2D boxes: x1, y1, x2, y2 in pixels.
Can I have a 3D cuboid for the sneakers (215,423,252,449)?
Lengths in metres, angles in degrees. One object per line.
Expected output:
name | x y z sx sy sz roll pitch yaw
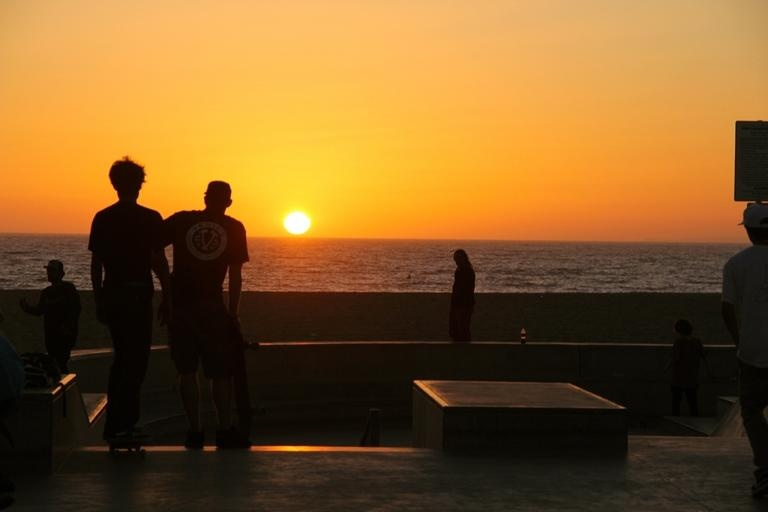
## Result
sneakers | -1.563 1.905 10.580 0.373 0.217 0.187 0 3 -20

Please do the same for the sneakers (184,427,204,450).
sneakers | -1.956 1.892 10.401 0.187 0.178 0.189 0 3 -14

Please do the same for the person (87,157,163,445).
person | -2.606 0.461 10.386 0.780 2.932 0.635 -2 4 -17

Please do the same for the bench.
bench | 1.454 1.785 10.773 2.246 0.657 1.283 -1 4 4

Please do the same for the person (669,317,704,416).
person | 4.514 1.650 14.925 0.473 1.441 0.894 0 4 15

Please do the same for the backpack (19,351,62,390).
backpack | -3.379 1.230 10.159 0.232 0.408 0.744 8 -6 -11
